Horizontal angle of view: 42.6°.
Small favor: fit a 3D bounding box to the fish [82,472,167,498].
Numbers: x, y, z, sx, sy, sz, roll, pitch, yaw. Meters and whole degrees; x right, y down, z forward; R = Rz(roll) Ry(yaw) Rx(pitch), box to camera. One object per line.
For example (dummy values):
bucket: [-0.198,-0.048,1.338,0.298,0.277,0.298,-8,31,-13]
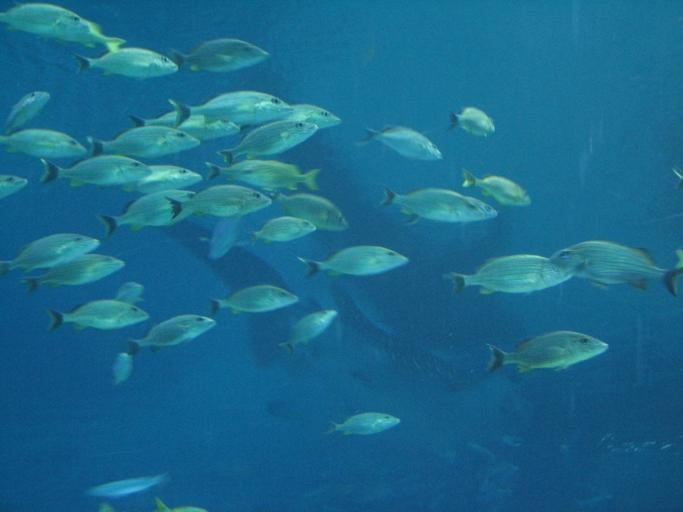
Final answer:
fish: [-2.192,2.363,8.921,1.524,0.199,0.180,-1,-5,3]
